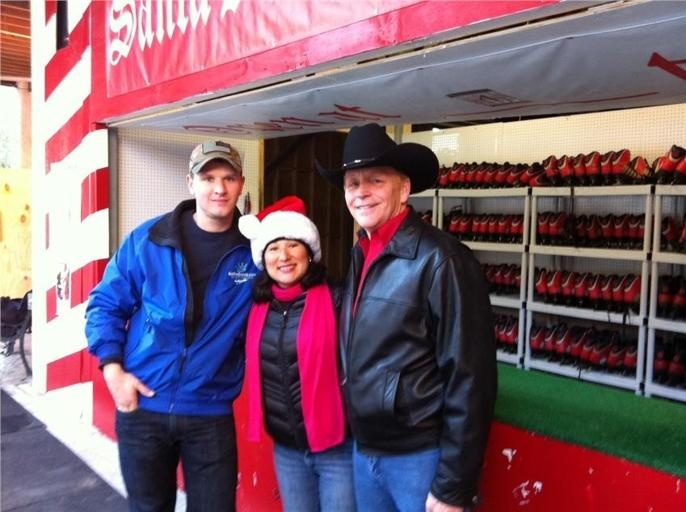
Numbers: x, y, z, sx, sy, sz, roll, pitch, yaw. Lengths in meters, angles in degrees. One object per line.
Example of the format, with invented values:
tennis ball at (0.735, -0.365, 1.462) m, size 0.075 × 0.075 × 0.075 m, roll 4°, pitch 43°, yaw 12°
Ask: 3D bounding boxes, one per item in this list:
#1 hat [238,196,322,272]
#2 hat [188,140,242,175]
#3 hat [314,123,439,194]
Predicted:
hat at (-0.302, -0.114, 2.678) m, size 0.372 × 0.403 × 0.304 m, roll -6°, pitch -6°, yaw 19°
hat at (-0.621, -0.481, 2.632) m, size 0.221 × 0.170 × 0.314 m, roll -6°, pitch 8°, yaw -18°
hat at (0.102, -0.476, 2.391) m, size 0.450 × 0.229 × 0.571 m, roll -1°, pitch -11°, yaw 17°
